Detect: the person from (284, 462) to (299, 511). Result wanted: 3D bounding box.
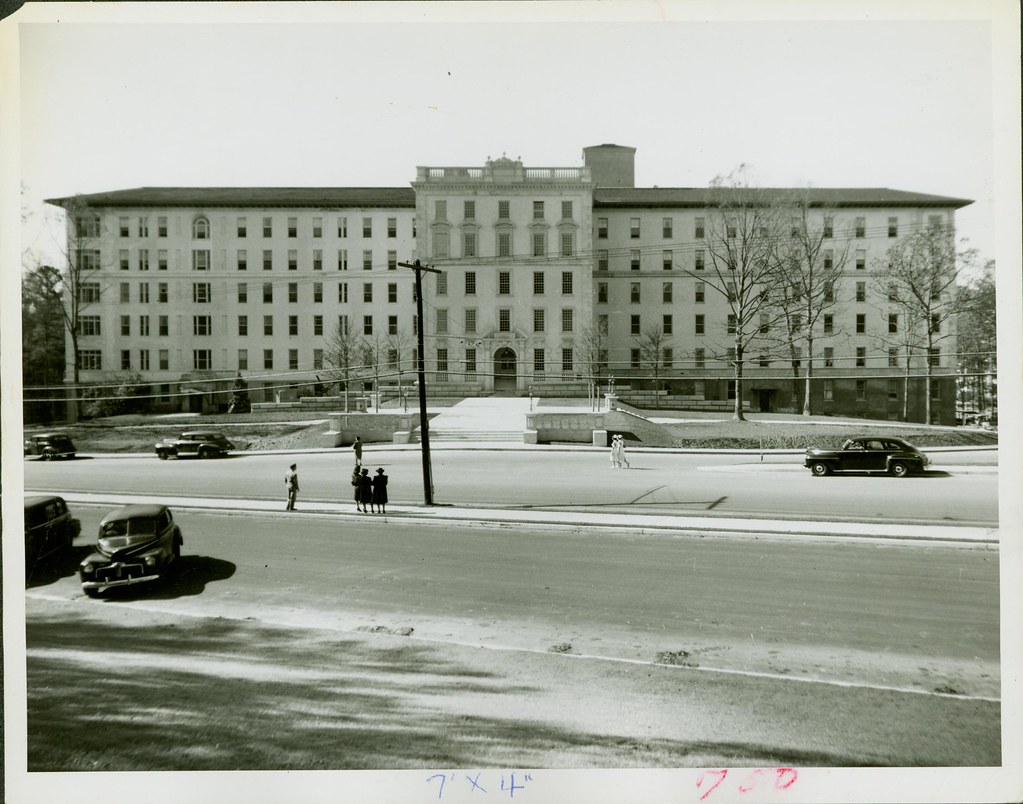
[{"bbox_3d":[-7.211,2.744,47.079,0.379,1.478,1.021,-2,4,-7],"label":"person"}]

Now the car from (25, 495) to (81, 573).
[{"bbox_3d":[-13.340,3.626,42.006,1.214,1.052,2.137,-2,0,-4],"label":"car"}]

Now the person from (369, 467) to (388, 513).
[{"bbox_3d":[-4.290,2.846,46.642,0.486,1.339,0.977,-3,4,-7],"label":"person"}]

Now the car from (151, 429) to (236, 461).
[{"bbox_3d":[-12.142,1.635,54.842,1.973,0.886,1.222,2,-3,-1],"label":"car"}]
